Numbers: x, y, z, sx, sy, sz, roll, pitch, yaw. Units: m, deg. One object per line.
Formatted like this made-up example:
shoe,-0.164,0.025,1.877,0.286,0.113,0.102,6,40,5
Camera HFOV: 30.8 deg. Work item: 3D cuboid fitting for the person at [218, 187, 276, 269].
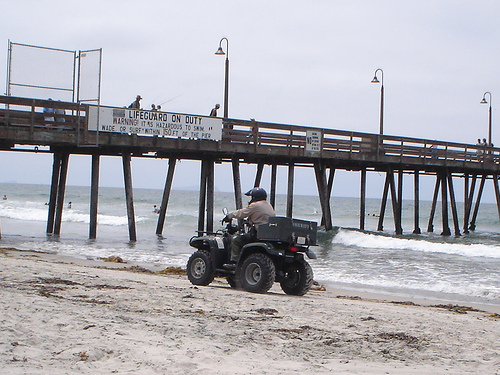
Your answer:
person,-0.014,0.914,20.684,1.246,1.911,0.963,7,-2,28

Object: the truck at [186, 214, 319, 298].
truck,0.039,1.543,21.037,2.819,1.843,1.641,3,-4,45

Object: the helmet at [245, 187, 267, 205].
helmet,0.140,0.180,20.457,0.407,0.375,0.315,2,-6,12

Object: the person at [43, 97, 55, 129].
person,-6.067,-2.253,27.772,0.313,0.921,0.806,2,1,-13

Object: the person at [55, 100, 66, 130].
person,-5.788,-2.210,27.960,0.300,0.873,0.626,2,1,-13
